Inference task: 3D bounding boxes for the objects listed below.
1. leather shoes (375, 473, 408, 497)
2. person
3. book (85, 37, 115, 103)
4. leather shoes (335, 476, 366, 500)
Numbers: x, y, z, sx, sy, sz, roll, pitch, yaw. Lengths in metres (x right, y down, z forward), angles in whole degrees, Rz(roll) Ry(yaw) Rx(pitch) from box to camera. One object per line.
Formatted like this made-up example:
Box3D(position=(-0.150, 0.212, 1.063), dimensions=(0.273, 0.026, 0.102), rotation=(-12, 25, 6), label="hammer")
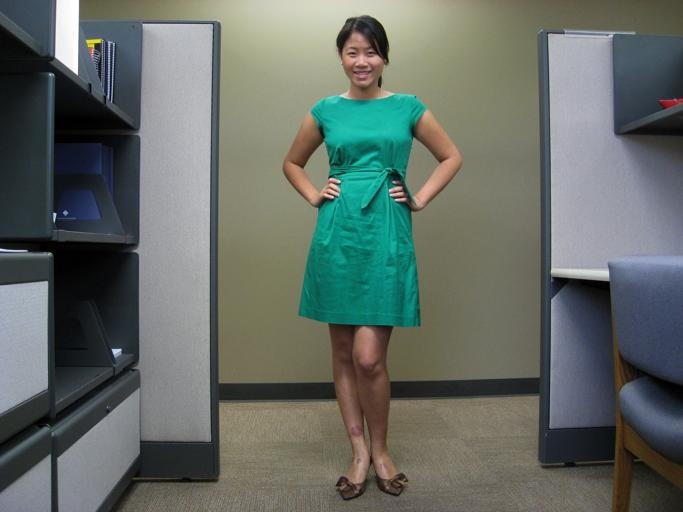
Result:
Box3D(position=(0.190, 0.874, 2.247), dimensions=(0.123, 0.059, 0.081), rotation=(1, 6, 12), label="leather shoes")
Box3D(position=(0.127, -0.017, 2.329), dimensions=(0.693, 1.813, 0.438), rotation=(-1, 6, -7), label="person")
Box3D(position=(-0.863, -0.704, 2.197), dimensions=(0.207, 0.230, 0.058), rotation=(-1, 1, 29), label="book")
Box3D(position=(0.040, 0.880, 2.231), dimensions=(0.122, 0.055, 0.105), rotation=(0, 6, -2), label="leather shoes")
